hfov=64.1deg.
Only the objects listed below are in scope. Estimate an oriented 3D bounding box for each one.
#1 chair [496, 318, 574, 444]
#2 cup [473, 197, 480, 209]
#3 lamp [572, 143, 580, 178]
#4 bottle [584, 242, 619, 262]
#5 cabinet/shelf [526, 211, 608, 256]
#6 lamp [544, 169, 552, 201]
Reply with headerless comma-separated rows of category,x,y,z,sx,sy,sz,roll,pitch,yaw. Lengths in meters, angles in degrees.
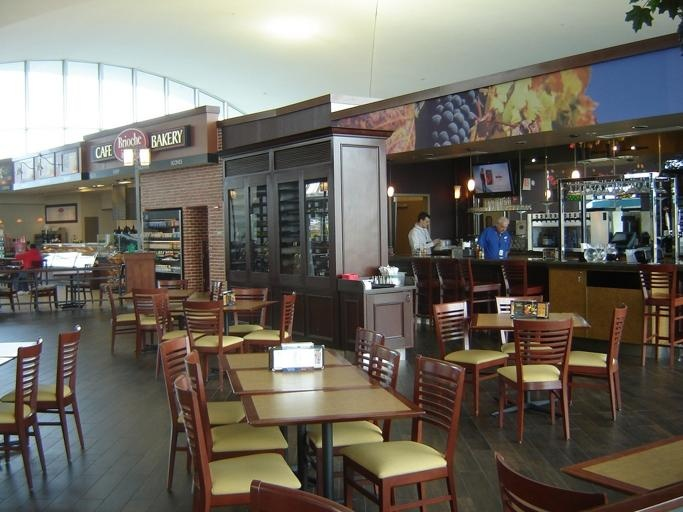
chair,1.894,1.146,5.352,0.717,0.988,0.746,-4,1,16
cup,3.554,-1.430,14.248,0.200,0.278,0.242,-4,1,7
lamp,5.282,-2.163,12.301,0.195,0.663,0.992,-3,1,24
bottle,4.131,-0.036,8.852,0.416,0.213,0.579,0,-2,4
cabinet/shelf,4.482,-0.537,11.014,1.220,0.743,4.711,-4,1,17
lamp,5.046,-1.723,13.292,0.135,0.624,0.270,-4,1,15
